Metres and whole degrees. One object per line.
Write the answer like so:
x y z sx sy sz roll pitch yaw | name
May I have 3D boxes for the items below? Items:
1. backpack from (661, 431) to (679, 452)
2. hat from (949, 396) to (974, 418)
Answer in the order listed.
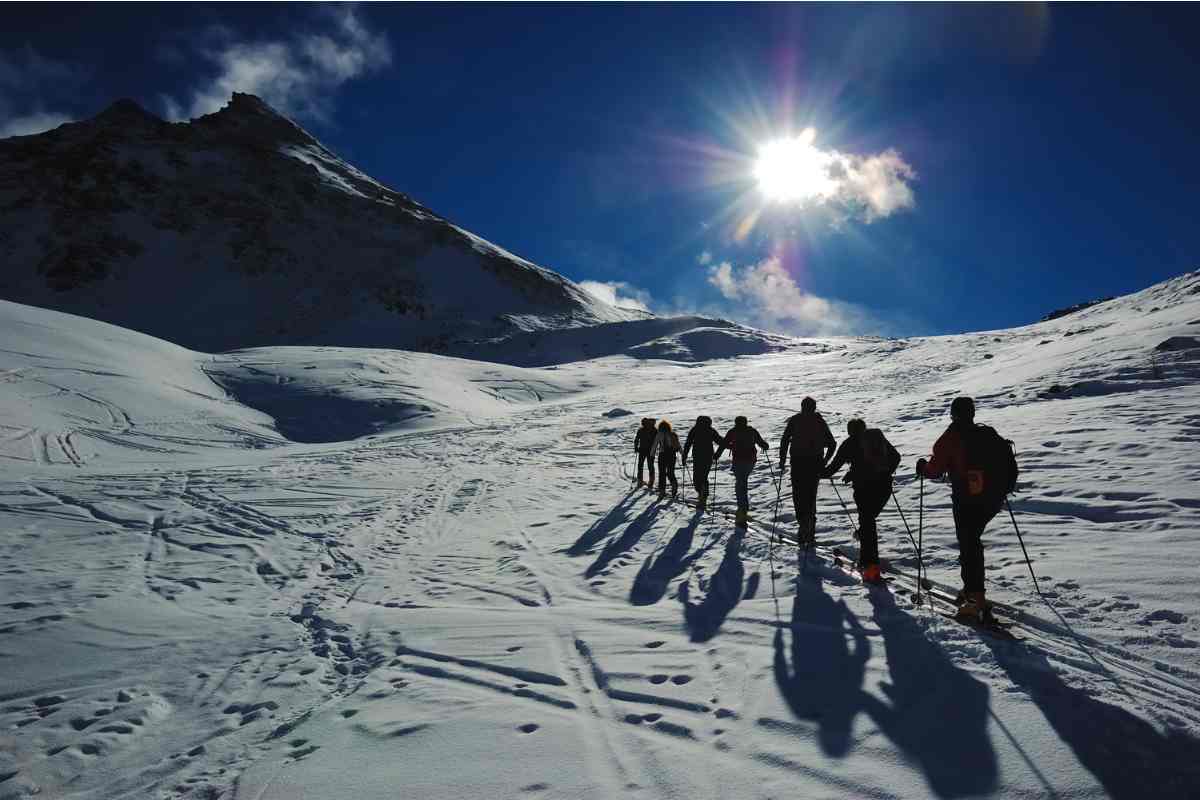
1.766 0.977 17.486 0.473 0.502 0.258 -12 15 -40 | backpack
6.060 0.095 12.168 0.396 0.400 0.438 -7 -47 24 | hat
